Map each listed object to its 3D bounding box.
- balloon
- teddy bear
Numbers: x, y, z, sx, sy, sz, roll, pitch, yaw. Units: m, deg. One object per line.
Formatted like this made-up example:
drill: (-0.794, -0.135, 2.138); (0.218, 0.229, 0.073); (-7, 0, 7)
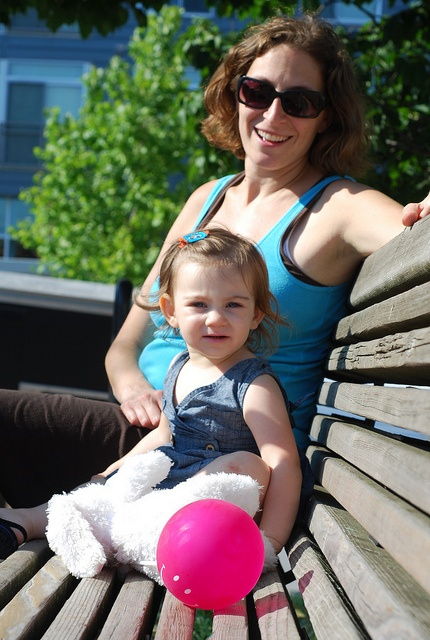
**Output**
balloon: (-0.004, 0.385, 0.891); (0.183, 0.202, 0.174); (2, 25, 12)
teddy bear: (-0.084, 0.343, 1.104); (0.360, 0.233, 0.317); (8, 9, 28)
